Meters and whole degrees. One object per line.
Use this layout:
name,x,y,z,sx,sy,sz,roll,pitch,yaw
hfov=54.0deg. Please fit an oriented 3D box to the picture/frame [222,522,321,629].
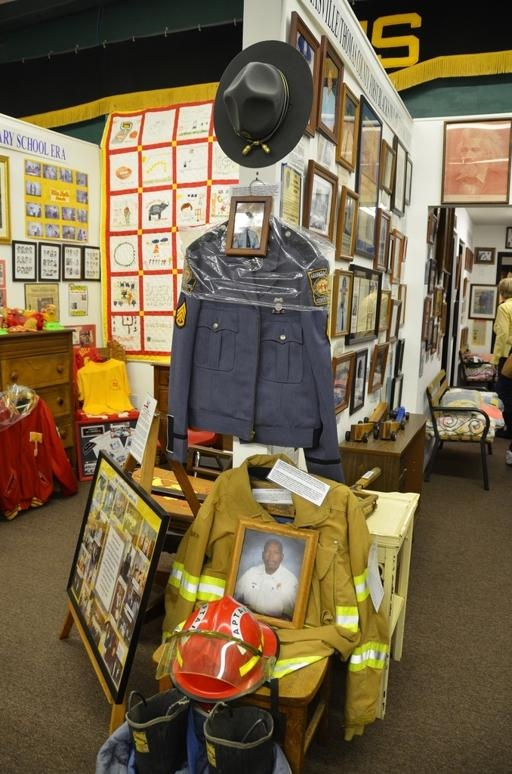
picture/frame,0.052,0.523,1.384,0.224,0.285,0.021,10,-3,21

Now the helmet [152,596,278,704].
helmet,-0.087,0.584,1.209,0.255,0.138,0.324,4,13,19

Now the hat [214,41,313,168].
hat,-0.031,-0.855,1.507,0.208,0.367,0.360,-9,14,-39

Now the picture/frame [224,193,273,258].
picture/frame,-0.019,-0.489,1.536,0.176,0.264,0.017,6,4,24
